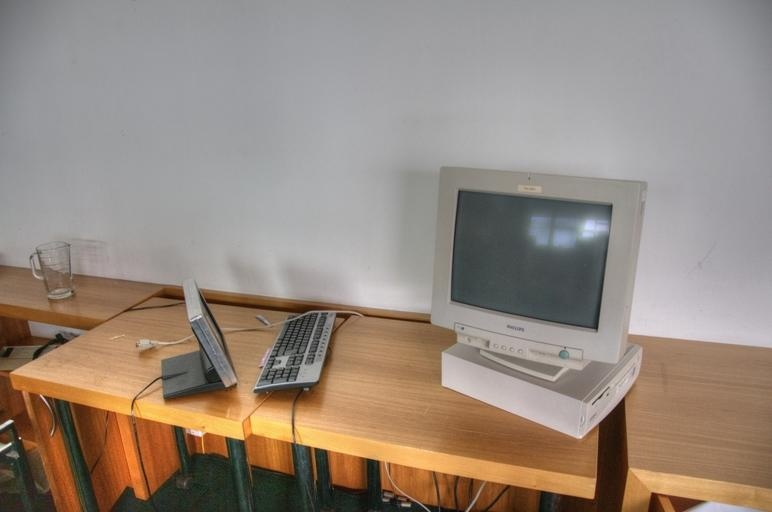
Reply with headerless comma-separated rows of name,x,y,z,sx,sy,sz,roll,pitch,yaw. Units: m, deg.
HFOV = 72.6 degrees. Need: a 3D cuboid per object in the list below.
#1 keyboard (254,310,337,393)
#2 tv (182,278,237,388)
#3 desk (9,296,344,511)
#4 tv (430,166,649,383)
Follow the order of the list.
keyboard,-0.317,0.343,2.001,0.265,0.074,0.541,-6,19,-1
tv,-0.656,0.300,1.951,0.085,0.224,0.314,-24,28,-11
desk,-0.826,0.770,2.362,1.042,0.987,0.788,13,31,18
tv,0.547,0.030,1.873,0.683,0.614,0.365,9,10,34
